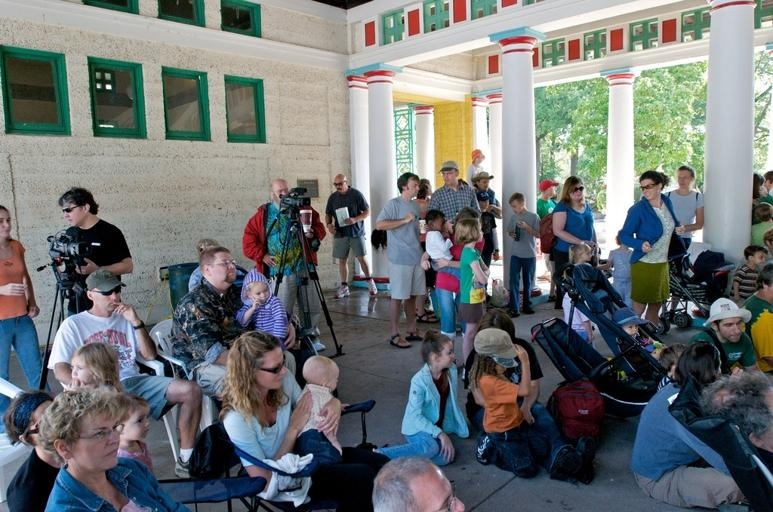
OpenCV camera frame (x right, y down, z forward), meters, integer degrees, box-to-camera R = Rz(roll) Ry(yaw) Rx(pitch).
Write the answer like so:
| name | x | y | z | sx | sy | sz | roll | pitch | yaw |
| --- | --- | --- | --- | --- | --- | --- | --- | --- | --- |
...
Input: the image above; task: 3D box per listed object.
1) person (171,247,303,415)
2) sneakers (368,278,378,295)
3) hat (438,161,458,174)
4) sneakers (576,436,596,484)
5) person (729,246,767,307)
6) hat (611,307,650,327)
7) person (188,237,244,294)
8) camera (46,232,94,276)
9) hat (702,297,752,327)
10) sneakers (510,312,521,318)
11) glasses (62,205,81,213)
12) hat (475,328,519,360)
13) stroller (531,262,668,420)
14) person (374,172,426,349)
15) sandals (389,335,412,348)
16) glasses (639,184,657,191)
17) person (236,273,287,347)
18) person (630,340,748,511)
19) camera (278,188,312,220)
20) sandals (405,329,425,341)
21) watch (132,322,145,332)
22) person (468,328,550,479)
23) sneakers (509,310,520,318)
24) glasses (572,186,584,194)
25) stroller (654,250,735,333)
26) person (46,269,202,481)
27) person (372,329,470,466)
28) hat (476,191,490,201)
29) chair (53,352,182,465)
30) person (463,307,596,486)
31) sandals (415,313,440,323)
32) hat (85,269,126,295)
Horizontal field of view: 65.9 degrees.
| name | x | y | z | sx | sy | sz | roll | pitch | yaw |
| --- | --- | --- | --- | --- | --- | --- | --- | --- | --- |
| person | -1.338 | 0.598 | 5.380 | 1.365 | 1.358 | 1.016 | 2 | 16 | 4 |
| sneakers | -0.243 | 0.563 | 10.509 | 0.116 | 0.320 | 0.150 | -27 | -27 | 30 |
| hat | 0.860 | -1.194 | 8.016 | 0.177 | 0.116 | 0.251 | 0 | 0 | 40 |
| sneakers | 1.642 | 1.672 | 4.966 | 0.145 | 0.372 | 0.171 | -2 | -7 | -22 |
| person | 4.230 | 0.234 | 6.945 | 0.447 | 0.857 | 0.290 | -25 | 30 | -23 |
| hat | 2.410 | 0.612 | 5.878 | 0.316 | 0.192 | 0.270 | 2 | 11 | 22 |
| person | -1.841 | 0.095 | 6.332 | 0.661 | 0.407 | 0.839 | -7 | 10 | -29 |
| camera | -3.093 | -0.040 | 5.777 | 0.610 | 0.284 | 0.222 | 3 | 0 | 33 |
| hat | 3.118 | 0.511 | 5.459 | 0.271 | 0.129 | 0.313 | -9 | -5 | 19 |
| sneakers | 1.875 | 0.853 | 8.718 | 0.134 | 0.114 | 0.066 | 1 | -1 | -42 |
| glasses | -3.241 | -0.476 | 6.081 | 0.218 | 0.077 | 0.082 | 4 | 13 | 33 |
| hat | 0.924 | 0.745 | 5.037 | 0.329 | 0.141 | 0.224 | 0 | 11 | 8 |
| stroller | 2.171 | 0.827 | 5.970 | 1.454 | 1.239 | 0.817 | 6 | 4 | 19 |
| person | 0.235 | 0.058 | 7.609 | 0.590 | 2.173 | 0.563 | -9 | 13 | -26 |
| sandals | 0.166 | 1.097 | 7.670 | 0.140 | 0.104 | 0.262 | -5 | 5 | -35 |
| glasses | 3.004 | -0.779 | 6.879 | 0.092 | 0.093 | 0.163 | -6 | 11 | -15 |
| person | -1.171 | 0.587 | 5.585 | 0.475 | 0.914 | 0.301 | -7 | 21 | -8 |
| person | 2.284 | 1.305 | 4.449 | 0.989 | 1.122 | 0.960 | -4 | 23 | 13 |
| camera | -1.100 | -0.614 | 7.099 | 0.234 | 0.297 | 0.518 | -2 | 1 | -31 |
| sandals | 0.372 | 1.033 | 7.838 | 0.266 | 0.144 | 0.115 | -1 | 5 | 0 |
| watch | -2.154 | 0.612 | 5.210 | 0.087 | 0.031 | 0.081 | -22 | 9 | -1 |
| person | 1.041 | 1.315 | 5.154 | 0.820 | 1.269 | 0.901 | -7 | 16 | 14 |
| sneakers | 1.869 | 0.844 | 8.723 | 0.166 | 0.142 | 0.078 | -14 | 7 | -31 |
| glasses | 2.562 | -0.877 | 7.927 | 0.175 | 0.086 | 0.052 | -11 | 14 | -39 |
| stroller | 4.191 | 0.416 | 8.094 | 0.966 | 1.140 | 1.074 | 1 | 1 | -31 |
| person | -2.252 | 0.981 | 4.984 | 1.087 | 1.637 | 0.973 | 3 | 3 | 34 |
| person | 0.335 | 1.225 | 5.228 | 0.694 | 1.057 | 1.145 | 4 | 6 | 29 |
| hat | 1.479 | -0.910 | 9.212 | 0.263 | 0.130 | 0.252 | -1 | 6 | -12 |
| chair | -2.129 | 1.004 | 4.539 | 0.842 | 0.966 | 0.668 | -2 | 4 | -4 |
| person | 1.195 | 1.236 | 5.107 | 0.742 | 1.101 | 1.158 | -20 | 15 | -18 |
| sandals | 0.604 | 0.907 | 8.693 | 0.270 | 0.079 | 0.133 | 0 | 6 | -6 |
| hat | -2.408 | 0.226 | 5.092 | 0.284 | 0.132 | 0.181 | -9 | 7 | 27 |
